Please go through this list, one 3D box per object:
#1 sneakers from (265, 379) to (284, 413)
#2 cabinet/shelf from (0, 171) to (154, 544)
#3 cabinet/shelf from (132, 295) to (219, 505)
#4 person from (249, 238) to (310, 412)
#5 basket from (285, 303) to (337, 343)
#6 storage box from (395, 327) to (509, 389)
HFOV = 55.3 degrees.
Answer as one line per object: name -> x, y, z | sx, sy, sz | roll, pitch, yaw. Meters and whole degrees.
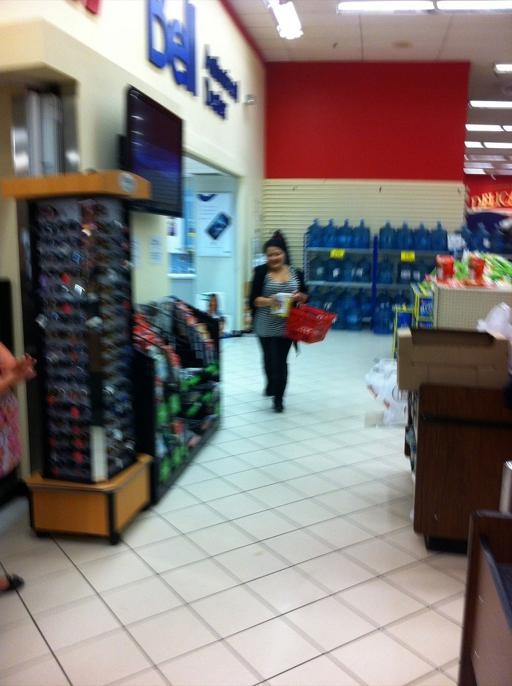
sneakers -> 0.169, 0.483, 4.379 | 0.106, 0.145, 0.328 | -5, 3, -2
cabinet/shelf -> -0.742, 0.087, 2.108 | 0.490, 1.577, 0.504 | 1, 4, 9
cabinet/shelf -> -0.478, 0.349, 2.869 | 0.322, 0.868, 1.038 | 0, 9, 2
person -> 0.191, -0.146, 4.098 | 0.460, 1.514, 0.424 | -2, 5, -35
basket -> 0.430, -0.152, 3.965 | 0.363, 0.317, 0.369 | -3, 5, -42
storage box -> 0.853, 0.072, 2.114 | 0.450, 0.246, 0.343 | 2, 4, 16
